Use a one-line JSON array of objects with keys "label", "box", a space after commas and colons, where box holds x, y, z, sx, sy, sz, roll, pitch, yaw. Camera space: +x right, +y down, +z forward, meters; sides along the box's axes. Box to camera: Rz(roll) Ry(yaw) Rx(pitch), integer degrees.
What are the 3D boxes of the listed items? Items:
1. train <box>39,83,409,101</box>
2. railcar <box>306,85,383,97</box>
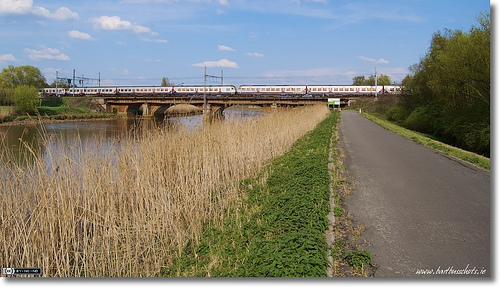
[{"label": "train", "box": [-7.402, -8.379, 63.410, 44.318, 3.594, 1.811, 0, 1, -3]}, {"label": "railcar", "box": [15.789, -8.696, 62.701, 12.599, 1.885, 3.353, -2, 8, -20]}]
